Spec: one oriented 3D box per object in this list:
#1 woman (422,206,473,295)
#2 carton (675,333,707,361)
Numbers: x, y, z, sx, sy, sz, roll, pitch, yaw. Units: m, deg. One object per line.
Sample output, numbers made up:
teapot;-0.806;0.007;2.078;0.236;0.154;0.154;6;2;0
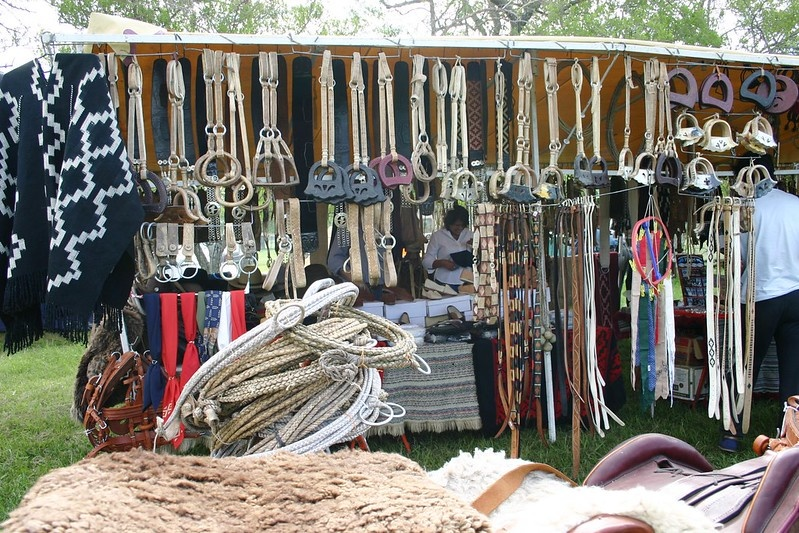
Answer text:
woman;0.548;-0.106;9.146;0.514;0.612;0.319;-1;7;-11
carton;2.622;0.720;8.151;0.200;0.213;0.214;2;-3;-26
